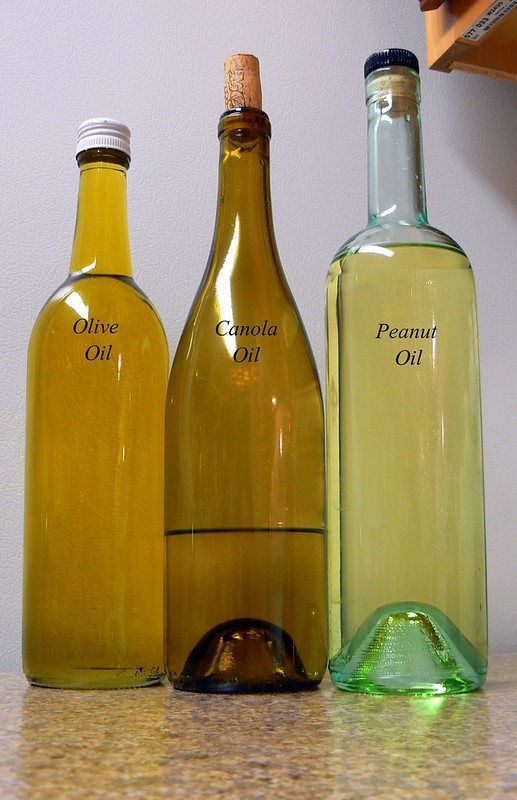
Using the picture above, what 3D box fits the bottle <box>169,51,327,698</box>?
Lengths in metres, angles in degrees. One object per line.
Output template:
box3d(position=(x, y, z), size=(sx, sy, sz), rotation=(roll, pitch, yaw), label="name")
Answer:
box3d(position=(-0.014, -0.029, 0.512), size=(0.104, 0.404, 0.135), rotation=(-2, 2, 3), label="bottle")

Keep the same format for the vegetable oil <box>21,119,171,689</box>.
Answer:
box3d(position=(-0.113, -0.008, 0.544), size=(0.100, 0.383, 0.113), rotation=(-3, 2, -6), label="vegetable oil")

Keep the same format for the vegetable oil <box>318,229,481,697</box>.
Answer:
box3d(position=(0.086, 0.034, 0.482), size=(0.092, 0.262, 0.096), rotation=(-2, 2, 13), label="vegetable oil")
